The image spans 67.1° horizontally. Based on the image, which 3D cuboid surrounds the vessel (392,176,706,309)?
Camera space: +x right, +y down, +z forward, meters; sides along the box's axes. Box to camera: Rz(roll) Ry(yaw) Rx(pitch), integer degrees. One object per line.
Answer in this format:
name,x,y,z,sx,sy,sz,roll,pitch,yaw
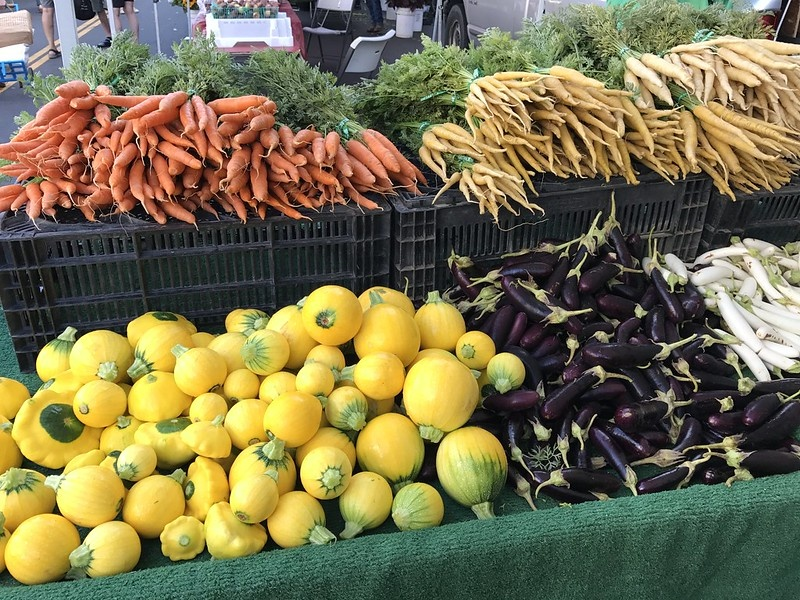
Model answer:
vessel,0.818,-0.426,3.226,1.418,0.425,0.810,-4,25,-2
